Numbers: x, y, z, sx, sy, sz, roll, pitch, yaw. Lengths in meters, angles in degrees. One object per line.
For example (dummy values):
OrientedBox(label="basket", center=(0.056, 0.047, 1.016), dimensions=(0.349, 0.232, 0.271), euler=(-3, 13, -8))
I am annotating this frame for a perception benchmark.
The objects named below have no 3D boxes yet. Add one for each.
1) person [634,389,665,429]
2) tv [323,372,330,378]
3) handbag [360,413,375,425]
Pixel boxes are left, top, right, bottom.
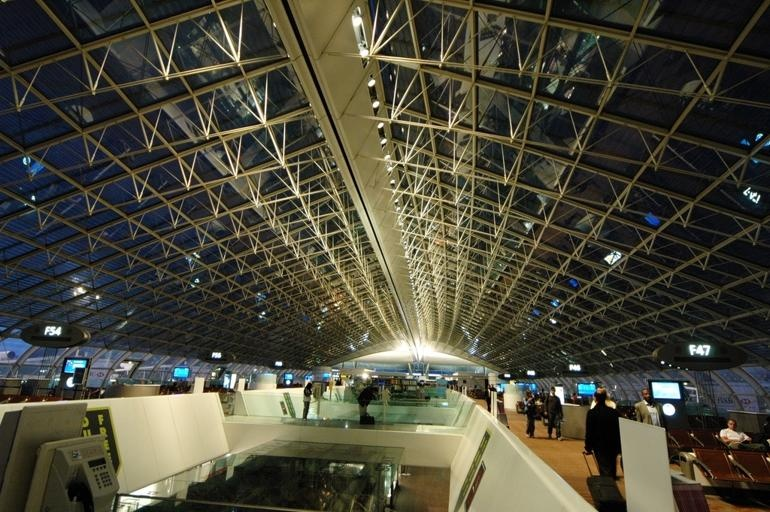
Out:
OrientedBox(label="person", center=(7.874, 4.518, 13.312), dimensions=(0.687, 1.005, 2.180), euler=(-12, -21, 28))
OrientedBox(label="tv", center=(-5.245, 10.683, 39.695), dimensions=(0.612, 0.454, 0.837), euler=(16, -19, -31))
OrientedBox(label="handbag", center=(-0.678, 6.093, 16.669), dimensions=(0.415, 0.324, 0.609), euler=(2, -11, 11))
